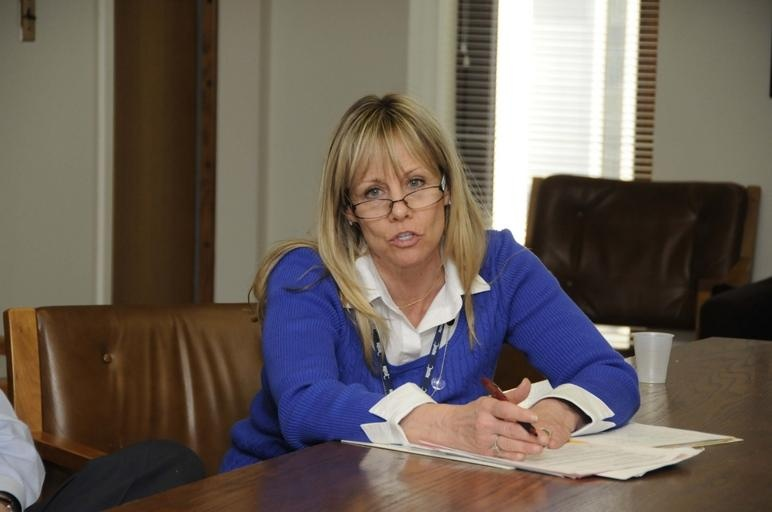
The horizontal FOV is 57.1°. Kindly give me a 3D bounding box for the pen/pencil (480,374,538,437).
[{"bbox_3d":[0.266,0.325,1.550,0.027,0.025,0.169,-14,50,-41],"label":"pen/pencil"}]

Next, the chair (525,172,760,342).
[{"bbox_3d":[1.291,0.124,3.731,0.974,0.938,0.786,0,-9,5],"label":"chair"}]

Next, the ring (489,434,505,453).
[{"bbox_3d":[0.221,0.375,1.423,0.032,0.031,0.025,7,37,12],"label":"ring"}]

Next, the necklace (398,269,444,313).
[{"bbox_3d":[0.090,0.091,1.834,0.089,0.121,0.063,-1,-19,-15],"label":"necklace"}]
